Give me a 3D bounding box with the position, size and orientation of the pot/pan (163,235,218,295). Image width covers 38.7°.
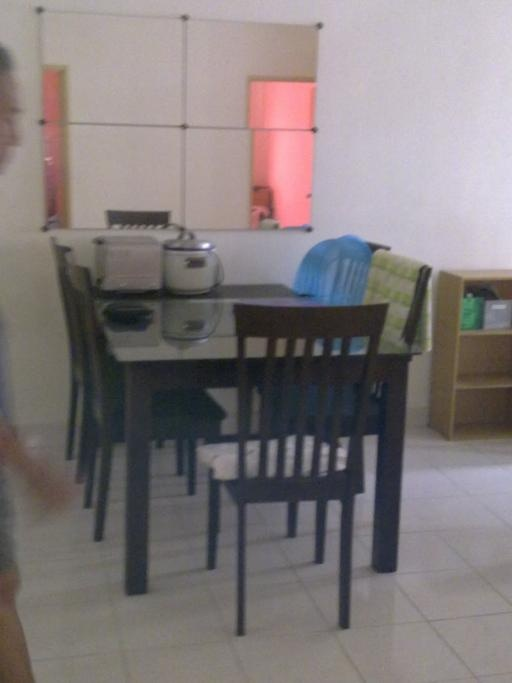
[{"bbox_3d":[-0.125,-0.138,1.294,0.102,0.084,0.093,-2,16,-13],"label":"pot/pan"}]
